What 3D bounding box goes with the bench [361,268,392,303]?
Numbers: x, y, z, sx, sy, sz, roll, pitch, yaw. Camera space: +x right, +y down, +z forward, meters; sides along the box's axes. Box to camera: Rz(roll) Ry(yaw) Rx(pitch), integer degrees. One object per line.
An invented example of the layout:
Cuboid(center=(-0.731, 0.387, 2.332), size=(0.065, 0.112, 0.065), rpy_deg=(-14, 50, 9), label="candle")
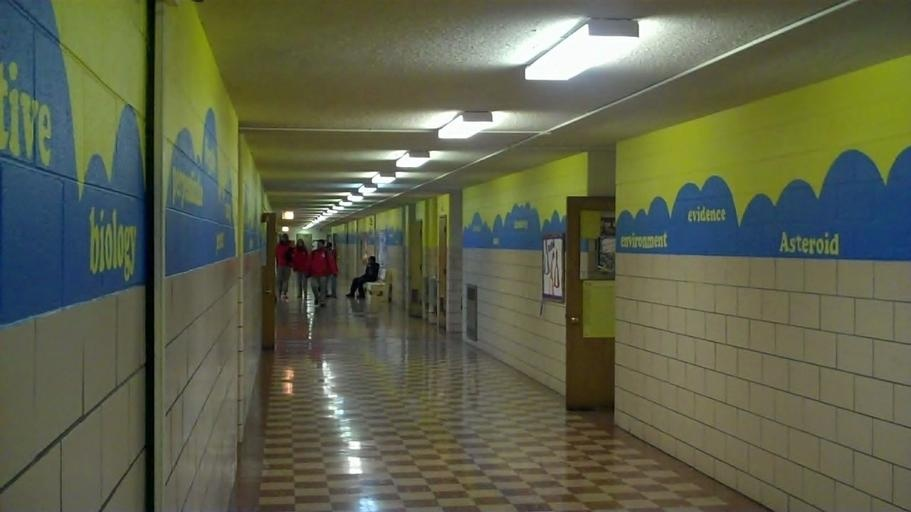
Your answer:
Cuboid(center=(-2.753, 1.042, 21.887), size=(0.814, 1.178, 1.306), rpy_deg=(0, 3, -13), label="bench")
